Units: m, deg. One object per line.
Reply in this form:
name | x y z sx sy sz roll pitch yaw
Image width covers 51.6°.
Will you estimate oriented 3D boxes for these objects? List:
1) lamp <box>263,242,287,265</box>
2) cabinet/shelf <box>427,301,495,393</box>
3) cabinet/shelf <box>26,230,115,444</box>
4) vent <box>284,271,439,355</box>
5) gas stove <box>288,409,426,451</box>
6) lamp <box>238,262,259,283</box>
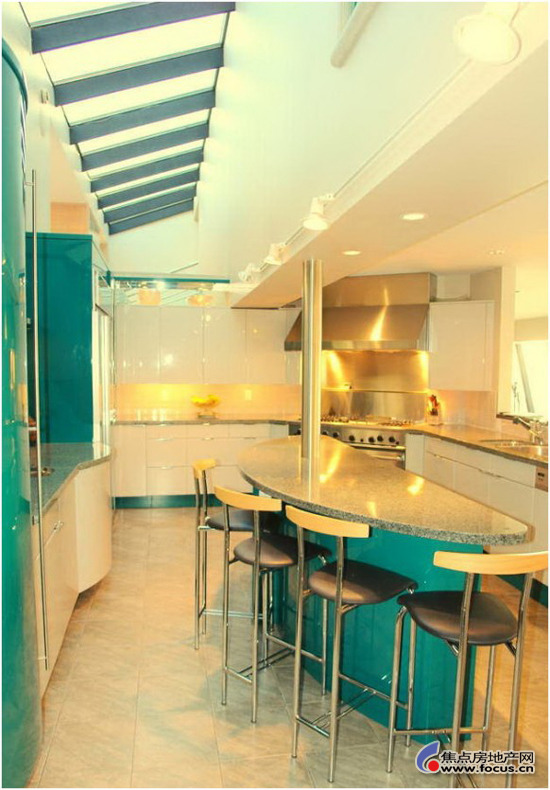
lamp | 0.004 -0.941 3.783 0.142 0.216 0.069 1 24 -11
cabinet/shelf | 1.899 -0.490 6.088 0.730 1.188 0.783 2 2 16
cabinet/shelf | -1.387 -0.368 3.770 0.366 1.385 0.158 0 2 -24
vent | 1.020 -0.855 5.787 1.144 0.784 0.412 1 1 15
gas stove | 0.811 0.404 6.074 1.316 0.317 0.655 1 1 19
lamp | -0.209 -1.029 4.778 0.102 0.137 0.534 1 1 -14
